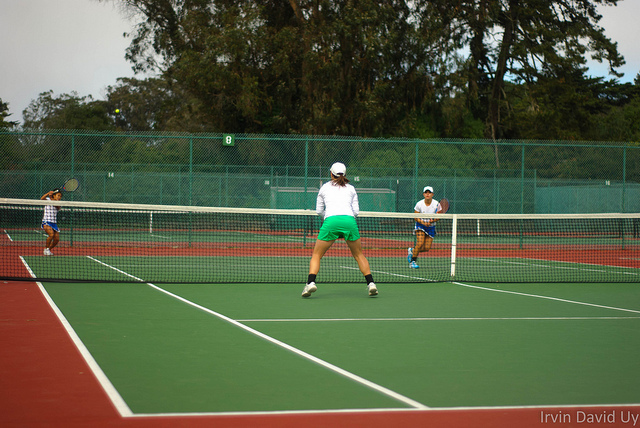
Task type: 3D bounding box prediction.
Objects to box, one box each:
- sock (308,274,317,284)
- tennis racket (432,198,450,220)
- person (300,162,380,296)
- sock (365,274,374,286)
[{"bbox_3d":[-0.131,1.118,11.103,0.090,0.164,0.164,1,-39,2],"label":"sock"},{"bbox_3d":[3.038,-0.150,16.156,0.171,0.618,0.359,14,-38,5],"label":"tennis racket"},{"bbox_3d":[0.319,0.337,11.565,1.223,2.646,1.061,0,-27,0],"label":"person"},{"bbox_3d":[0.865,1.130,11.365,0.146,0.185,0.297,1,6,4],"label":"sock"}]
